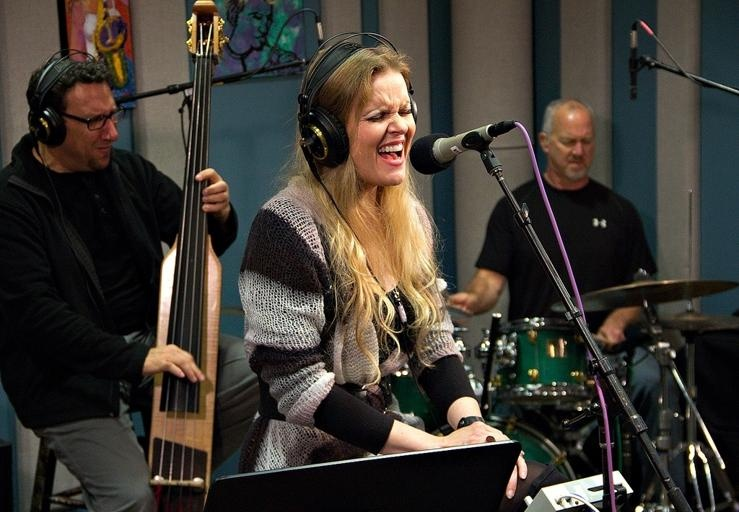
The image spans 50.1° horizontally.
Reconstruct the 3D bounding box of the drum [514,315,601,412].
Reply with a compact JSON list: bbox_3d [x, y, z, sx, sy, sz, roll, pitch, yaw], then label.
[{"bbox_3d":[1.107,0.552,4.266,0.478,0.434,0.469,7,-14,-31],"label":"drum"}]

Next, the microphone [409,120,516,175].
[{"bbox_3d":[0.339,-0.389,2.827,0.391,0.171,0.177,-5,-2,15],"label":"microphone"}]

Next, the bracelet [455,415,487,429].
[{"bbox_3d":[0.369,0.606,2.879,0.102,0.043,0.117,-4,-2,4],"label":"bracelet"}]

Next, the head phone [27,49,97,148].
[{"bbox_3d":[-1.420,-0.740,3.669,0.177,0.439,0.394,24,26,4],"label":"head phone"}]

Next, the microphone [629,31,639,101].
[{"bbox_3d":[1.282,-0.933,3.833,0.064,0.341,0.070,4,20,30],"label":"microphone"}]
